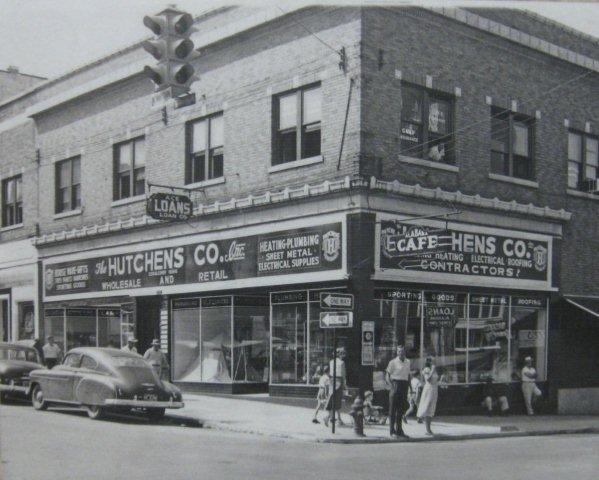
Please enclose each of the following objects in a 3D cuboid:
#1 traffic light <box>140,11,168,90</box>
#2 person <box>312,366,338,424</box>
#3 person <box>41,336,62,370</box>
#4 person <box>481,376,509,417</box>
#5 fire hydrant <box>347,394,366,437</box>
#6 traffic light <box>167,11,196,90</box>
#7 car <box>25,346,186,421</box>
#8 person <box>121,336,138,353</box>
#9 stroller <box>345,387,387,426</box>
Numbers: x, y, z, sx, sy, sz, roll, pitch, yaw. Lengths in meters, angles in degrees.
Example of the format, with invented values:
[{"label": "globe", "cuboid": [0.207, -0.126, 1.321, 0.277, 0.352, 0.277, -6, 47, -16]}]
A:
[{"label": "traffic light", "cuboid": [-2.811, -3.643, 22.291, 0.437, 1.411, 0.785, -7, 12, -20]}, {"label": "person", "cuboid": [0.700, 4.395, 32.105, 0.725, 1.545, 1.848, -3, 11, 0]}, {"label": "person", "cuboid": [-8.246, 3.896, 37.887, 0.568, 1.427, 0.441, 3, -22, -18]}, {"label": "person", "cuboid": [6.168, 4.827, 35.973, 0.930, 1.319, 0.702, -5, 12, -11]}, {"label": "fire hydrant", "cuboid": [1.568, 4.716, 30.413, 0.325, 1.080, 0.668, -3, 11, 1]}, {"label": "traffic light", "cuboid": [-2.249, -3.656, 22.261, 0.429, 1.491, 0.636, 3, 13, 27]}, {"label": "car", "cuboid": [-5.669, 3.978, 32.037, 4.050, 1.565, 1.860, -2, -9, 44]}, {"label": "person", "cuboid": [-5.527, 3.382, 37.197, 0.479, 0.812, 0.417, 13, -17, -35]}, {"label": "stroller", "cuboid": [1.949, 4.791, 32.910, 0.958, 1.630, 0.939, 0, 0, -10]}]
